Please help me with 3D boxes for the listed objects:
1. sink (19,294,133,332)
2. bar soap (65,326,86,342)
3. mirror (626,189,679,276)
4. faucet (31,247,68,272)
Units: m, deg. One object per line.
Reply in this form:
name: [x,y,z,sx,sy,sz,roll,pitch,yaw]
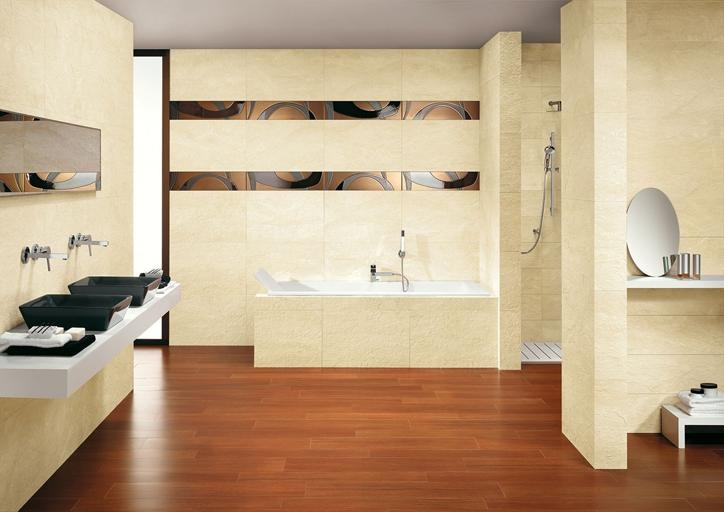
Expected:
sink: [-1.765,0.361,3.657,0.595,0.162,0.515,1,12,5]
bar soap: [-1.614,0.446,3.391,0.080,0.046,0.125,2,0,-6]
mirror: [2.187,-0.181,4.397,0.389,0.652,0.215,2,16,6]
faucet: [-2.023,0.009,3.883,0.209,0.208,0.329,-7,15,-26]
